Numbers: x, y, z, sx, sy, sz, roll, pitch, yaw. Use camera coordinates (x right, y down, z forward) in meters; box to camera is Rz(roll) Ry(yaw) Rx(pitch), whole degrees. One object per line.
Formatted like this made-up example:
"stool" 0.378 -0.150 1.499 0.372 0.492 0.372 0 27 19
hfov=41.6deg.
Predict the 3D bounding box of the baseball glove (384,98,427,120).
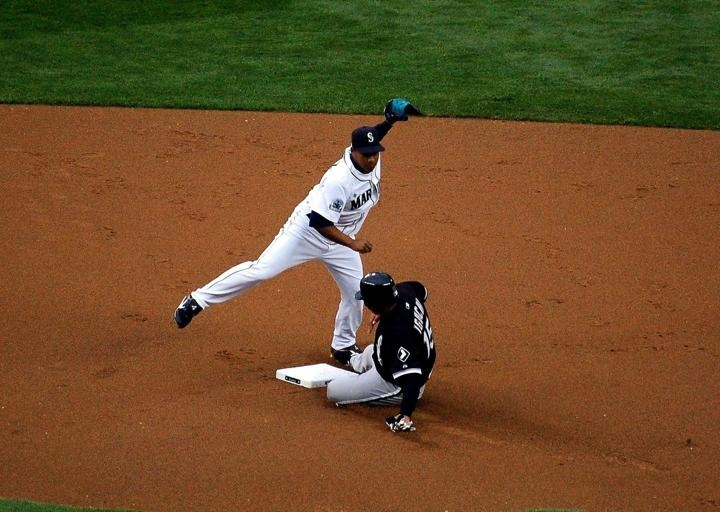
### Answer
"baseball glove" 0.530 -1.799 11.621 0.384 0.172 0.309 -1 3 24

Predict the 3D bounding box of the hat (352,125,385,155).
"hat" 0.098 -1.350 11.051 0.269 0.228 0.378 -18 38 -28

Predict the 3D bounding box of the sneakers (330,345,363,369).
"sneakers" -0.174 1.220 11.708 0.485 0.219 0.168 3 8 9

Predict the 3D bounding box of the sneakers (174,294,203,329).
"sneakers" -2.103 0.673 11.663 0.207 0.262 0.570 39 7 -4

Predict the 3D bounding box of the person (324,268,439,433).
"person" 0.226 1.169 10.895 0.935 1.035 1.379 17 52 20

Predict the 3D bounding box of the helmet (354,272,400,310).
"helmet" 0.202 0.427 10.625 0.427 0.441 0.370 6 38 0
